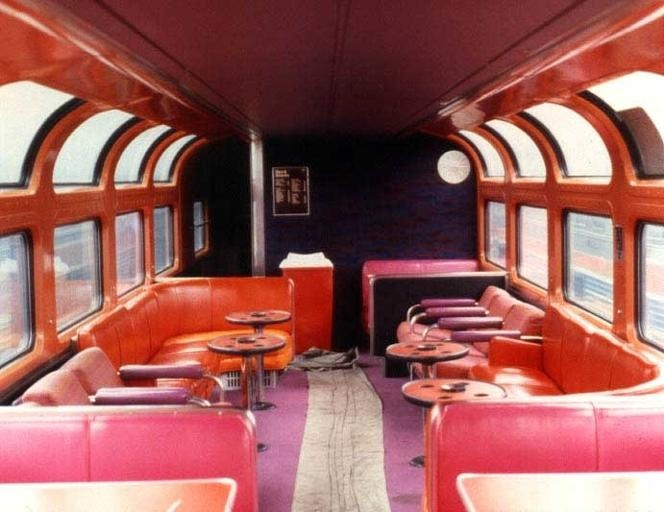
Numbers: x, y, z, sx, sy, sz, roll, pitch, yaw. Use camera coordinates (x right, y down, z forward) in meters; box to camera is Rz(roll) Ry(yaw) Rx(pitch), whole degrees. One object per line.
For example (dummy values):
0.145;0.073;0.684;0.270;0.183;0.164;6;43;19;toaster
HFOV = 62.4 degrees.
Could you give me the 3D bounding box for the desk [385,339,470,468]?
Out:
0.982;1.325;5.217;0.950;1.091;0.946;-1;0;21;desk
